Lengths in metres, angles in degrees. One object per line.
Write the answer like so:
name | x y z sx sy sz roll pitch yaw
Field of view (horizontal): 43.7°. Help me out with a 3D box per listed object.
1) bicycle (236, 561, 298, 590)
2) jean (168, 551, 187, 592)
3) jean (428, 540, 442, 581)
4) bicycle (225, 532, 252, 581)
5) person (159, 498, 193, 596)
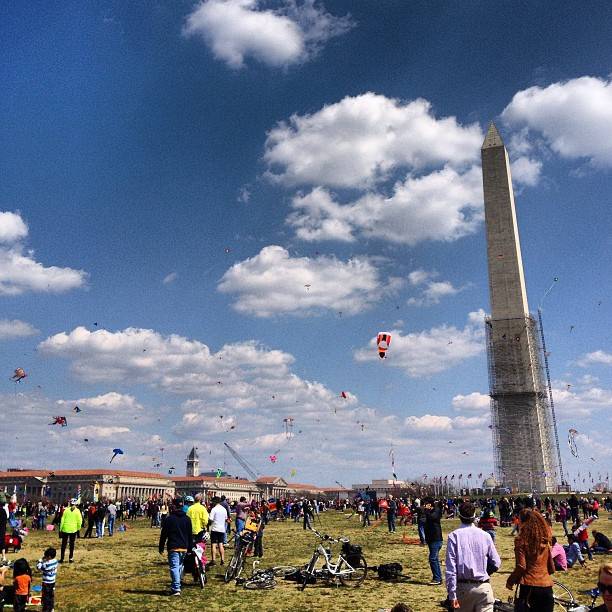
bicycle | -0.906 6.924 19.592 1.433 0.509 0.828 2 0 -44
jean | -3.112 6.320 18.263 0.409 0.943 0.590 -1 -16 -6
jean | 3.330 6.486 19.483 0.349 0.962 0.447 -5 -17 5
bicycle | -1.788 6.536 19.955 0.661 0.708 1.265 31 -3 -6
person | -3.151 5.766 18.351 0.640 2.242 1.263 -5 -16 5
